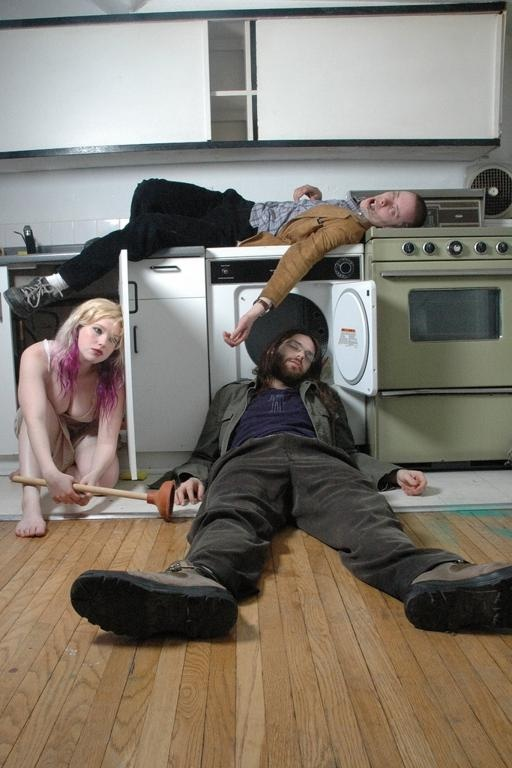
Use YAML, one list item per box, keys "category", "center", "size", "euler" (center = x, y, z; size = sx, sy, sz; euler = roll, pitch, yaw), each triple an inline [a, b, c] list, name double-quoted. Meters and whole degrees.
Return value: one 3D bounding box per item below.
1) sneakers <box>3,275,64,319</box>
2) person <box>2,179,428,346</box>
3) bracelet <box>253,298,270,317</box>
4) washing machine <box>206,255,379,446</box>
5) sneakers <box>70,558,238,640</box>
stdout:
- category: "sneakers"
  center: [-0.798, -0.308, 2.213]
  size: [0.273, 0.095, 0.113]
  euler: [-28, 11, -38]
- category: "person"
  center: [-0.057, -0.586, 2.423]
  size: [1.189, 0.316, 0.937]
  euler: [-6, 31, 8]
- category: "bracelet"
  center: [0.016, -0.257, 2.136]
  size: [0.073, 0.033, 0.053]
  euler: [-40, -3, -41]
- category: "washing machine"
  center: [0.119, -0.151, 2.586]
  size: [0.715, 0.788, 0.593]
  euler: [-1, 16, 5]
- category: "sneakers"
  center: [-0.165, 0.372, 1.059]
  size: [0.202, 0.071, 0.134]
  euler: [6, 10, -7]
